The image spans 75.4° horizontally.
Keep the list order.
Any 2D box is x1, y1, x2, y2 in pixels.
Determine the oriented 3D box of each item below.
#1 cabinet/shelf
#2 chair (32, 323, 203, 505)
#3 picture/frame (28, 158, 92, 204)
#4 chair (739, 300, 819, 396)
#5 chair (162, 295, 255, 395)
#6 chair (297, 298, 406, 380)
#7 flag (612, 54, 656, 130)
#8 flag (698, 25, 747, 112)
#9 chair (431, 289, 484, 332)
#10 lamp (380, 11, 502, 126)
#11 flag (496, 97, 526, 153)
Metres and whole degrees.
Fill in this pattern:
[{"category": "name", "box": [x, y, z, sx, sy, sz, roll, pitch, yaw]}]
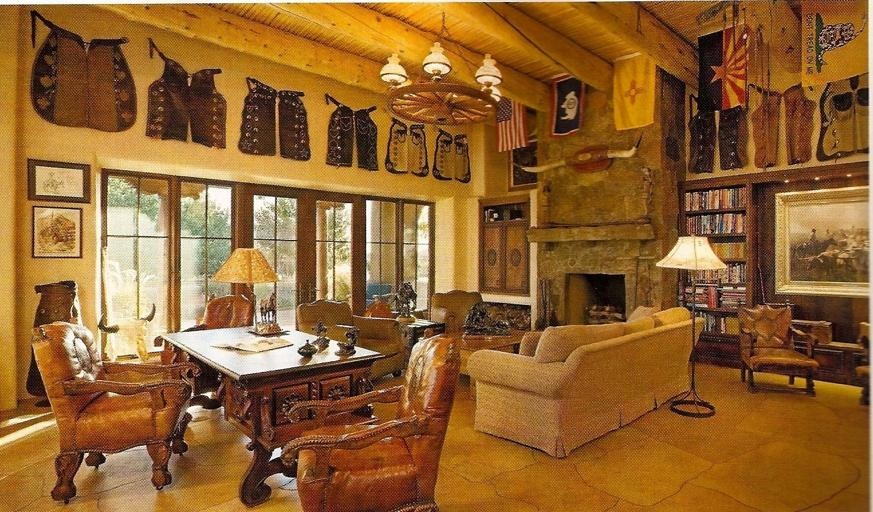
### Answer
[{"category": "cabinet/shelf", "box": [1.320, -0.129, 10.927, 1.084, 1.778, 0.380, -4, -1, 39]}, {"category": "chair", "box": [-3.448, 1.611, 6.094, 1.399, 1.376, 0.584, -3, -1, -7]}, {"category": "picture/frame", "box": [-5.074, -1.000, 7.527, 0.746, 0.529, 0.053, 0, -1, -30]}, {"category": "chair", "box": [4.290, 1.157, 7.125, 0.890, 0.966, 0.902, 1, 6, 28]}, {"category": "chair", "box": [-2.989, 1.183, 7.465, 0.978, 1.175, 1.028, 9, 18, 27]}, {"category": "chair", "box": [-1.322, 1.264, 8.334, 1.408, 1.082, 1.064, 2, 4, 38]}, {"category": "flag", "box": [3.162, -2.629, 9.017, 0.664, 1.227, 0.326, -4, -1, 16]}, {"category": "flag", "box": [3.658, -2.407, 7.237, 0.316, 1.169, 0.777, -4, -1, -9]}, {"category": "chair", "box": [0.258, 0.950, 9.727, 0.855, 0.620, 0.880, 2, 4, -10]}, {"category": "lamp", "box": [0.009, -2.462, 7.152, 1.564, 1.234, 1.449, -6, 6, -19]}, {"category": "flag", "box": [1.302, -2.355, 10.101, 0.561, 0.903, 0.299, -4, -1, 26]}]
